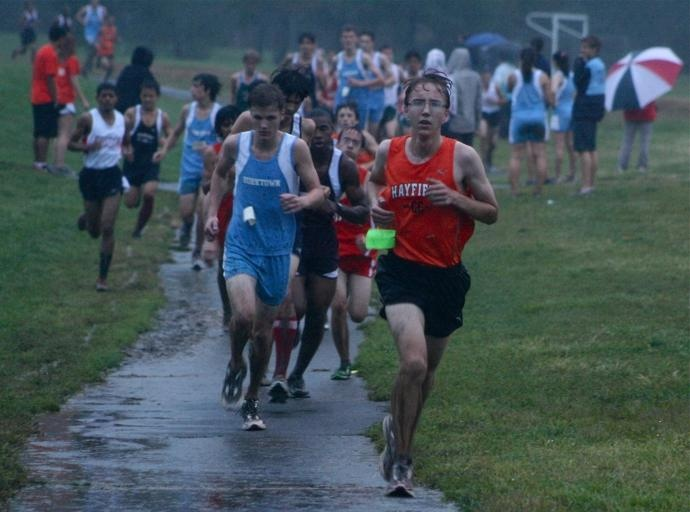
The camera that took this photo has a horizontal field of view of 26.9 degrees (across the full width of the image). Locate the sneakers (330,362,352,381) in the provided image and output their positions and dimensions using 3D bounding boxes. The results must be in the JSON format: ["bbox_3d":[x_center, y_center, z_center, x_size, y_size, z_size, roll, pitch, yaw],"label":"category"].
[{"bbox_3d":[-0.009,1.227,15.070,0.109,0.114,0.242,-4,-10,19],"label":"sneakers"}]

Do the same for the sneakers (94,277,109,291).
[{"bbox_3d":[-2.912,0.314,17.190,0.153,0.160,0.331,1,9,-10],"label":"sneakers"}]

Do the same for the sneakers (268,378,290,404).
[{"bbox_3d":[-0.661,1.358,14.396,0.130,0.158,0.309,0,-32,-1],"label":"sneakers"}]

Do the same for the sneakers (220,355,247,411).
[{"bbox_3d":[-1.040,1.224,13.716,0.176,0.545,0.211,4,4,-21],"label":"sneakers"}]

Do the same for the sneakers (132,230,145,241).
[{"bbox_3d":[-2.778,-0.277,19.381,0.164,0.103,0.129,-4,-13,35],"label":"sneakers"}]

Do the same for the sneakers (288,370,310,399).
[{"bbox_3d":[-0.463,1.297,14.586,0.227,0.262,0.261,2,8,-1],"label":"sneakers"}]

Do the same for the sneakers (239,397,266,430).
[{"bbox_3d":[-0.876,1.524,13.726,0.141,0.257,0.391,1,-4,-13],"label":"sneakers"}]

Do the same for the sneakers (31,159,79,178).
[{"bbox_3d":[-3.632,-1.083,17.964,0.503,0.214,0.174,22,16,-36],"label":"sneakers"}]
